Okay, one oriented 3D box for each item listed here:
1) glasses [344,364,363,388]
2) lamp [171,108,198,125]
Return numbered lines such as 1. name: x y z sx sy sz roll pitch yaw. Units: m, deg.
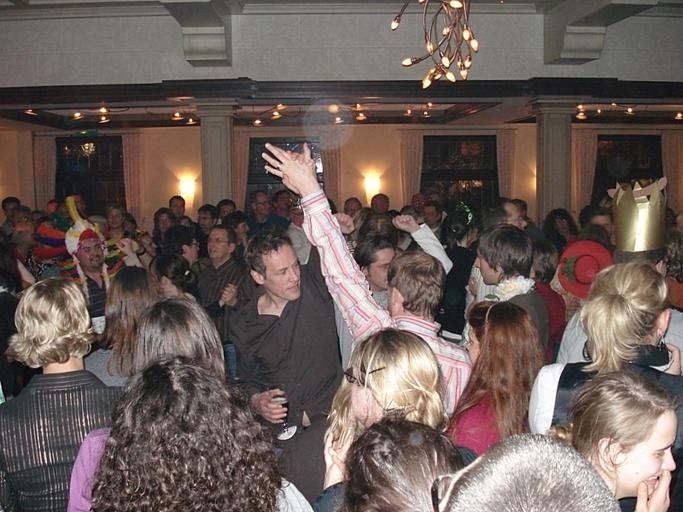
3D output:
1. glasses: 0.039 0.443 2.420 0.052 0.084 0.182 -2 6 -11
2. lamp: -2.550 -2.276 10.538 0.469 0.156 1.308 -2 6 -14
